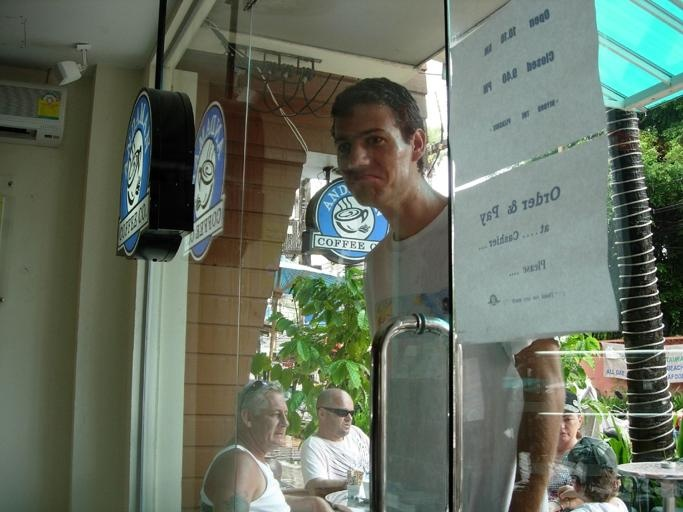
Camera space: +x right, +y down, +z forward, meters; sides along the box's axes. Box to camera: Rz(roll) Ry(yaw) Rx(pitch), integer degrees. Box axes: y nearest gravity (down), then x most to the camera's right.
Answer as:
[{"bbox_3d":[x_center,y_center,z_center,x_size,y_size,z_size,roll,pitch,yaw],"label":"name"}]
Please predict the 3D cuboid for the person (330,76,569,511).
[{"bbox_3d":[0.168,0.035,1.447,0.155,0.972,0.684,5,-10,-23],"label":"person"}]

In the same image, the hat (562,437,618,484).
[{"bbox_3d":[0.398,0.327,1.126,0.065,0.103,0.052,0,24,13],"label":"hat"}]
